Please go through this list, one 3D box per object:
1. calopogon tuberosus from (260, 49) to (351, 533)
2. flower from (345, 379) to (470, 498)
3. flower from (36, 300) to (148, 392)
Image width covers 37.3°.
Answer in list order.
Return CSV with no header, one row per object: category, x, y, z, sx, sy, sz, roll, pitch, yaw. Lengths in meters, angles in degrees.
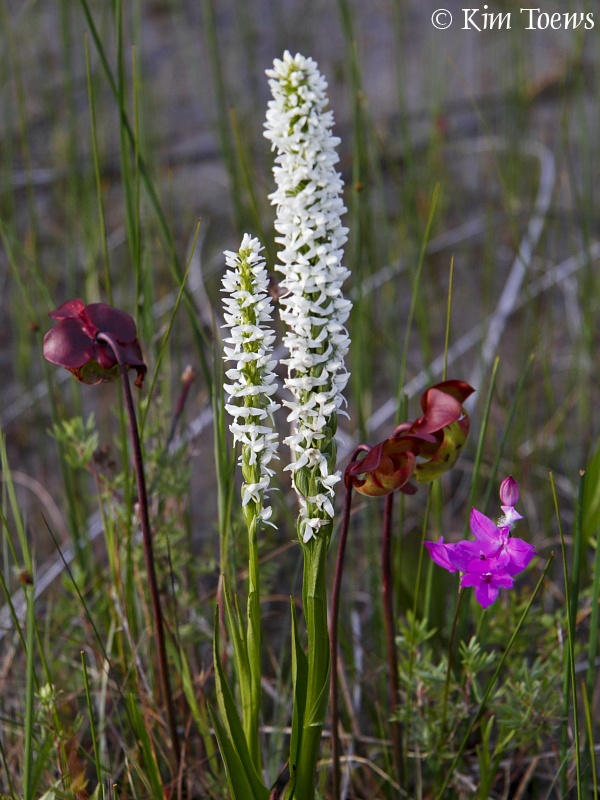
calopogon tuberosus,0.012,-0.115,0.963,0.099,0.494,0.134,-8,15,5
flower,0.119,0.058,1.042,0.141,0.114,0.176,-20,-2,13
flower,-0.240,-0.059,1.032,0.115,0.119,0.089,-20,18,-12
